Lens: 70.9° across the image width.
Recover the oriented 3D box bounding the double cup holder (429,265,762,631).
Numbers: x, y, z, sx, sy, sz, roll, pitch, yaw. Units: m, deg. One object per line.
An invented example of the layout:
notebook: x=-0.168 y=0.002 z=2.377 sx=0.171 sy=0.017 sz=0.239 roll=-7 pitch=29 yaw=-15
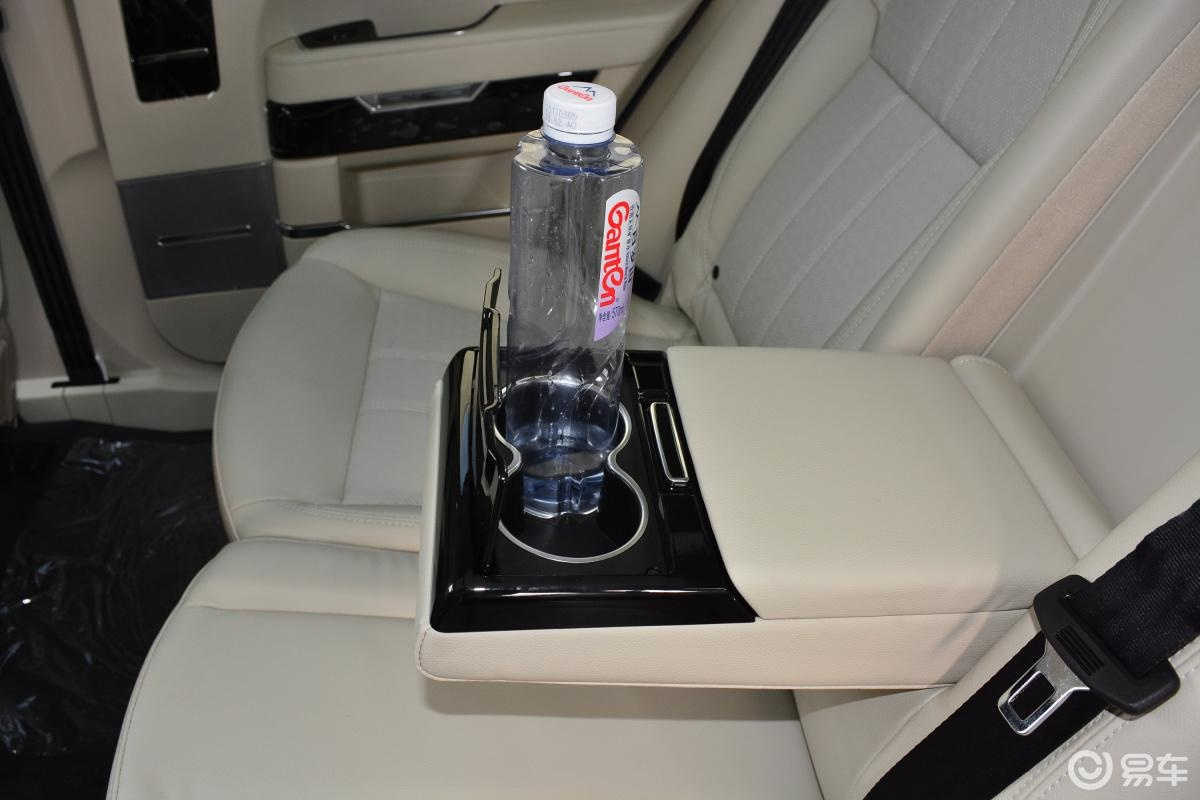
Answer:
double cup holder: x=-0.019 y=0.039 z=0.838 sx=0.281 sy=0.168 sz=0.373 roll=2 pitch=40 yaw=-3
